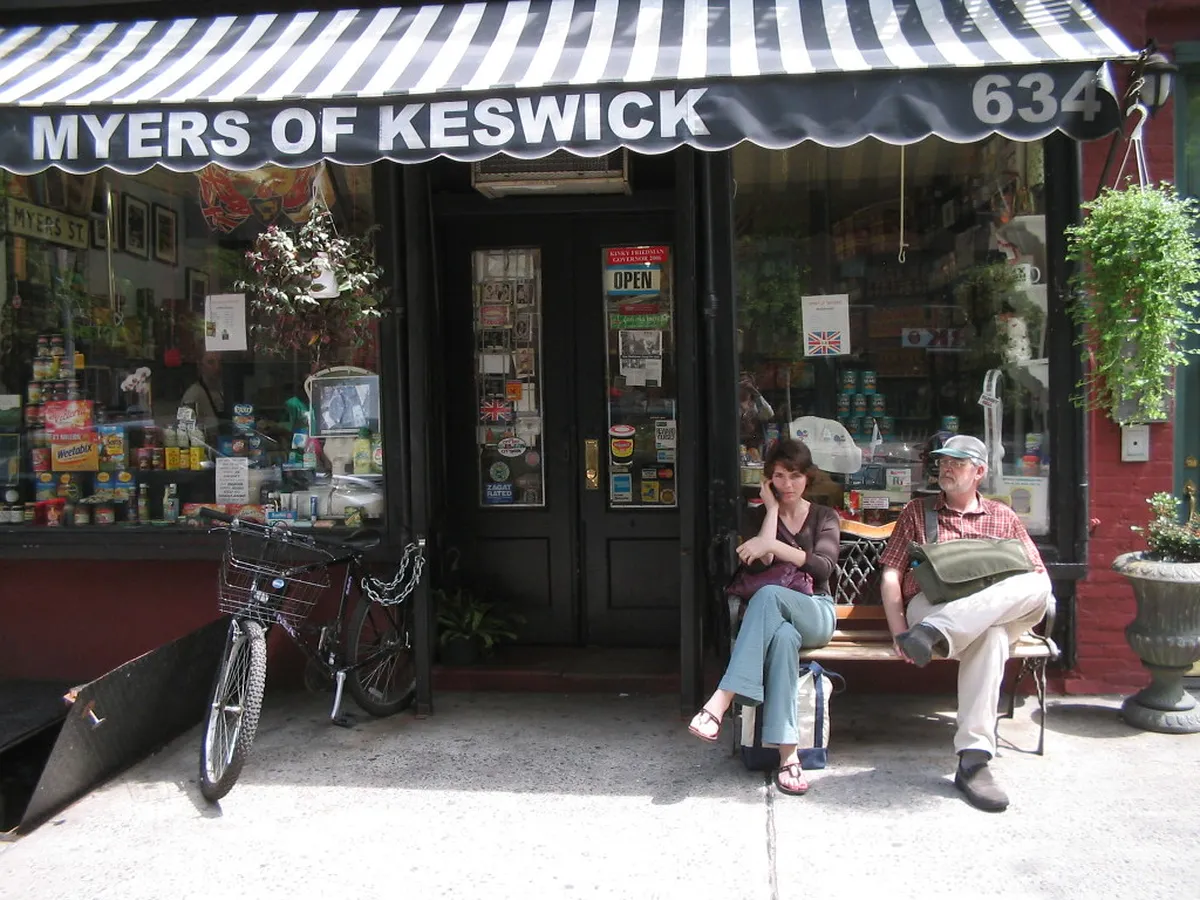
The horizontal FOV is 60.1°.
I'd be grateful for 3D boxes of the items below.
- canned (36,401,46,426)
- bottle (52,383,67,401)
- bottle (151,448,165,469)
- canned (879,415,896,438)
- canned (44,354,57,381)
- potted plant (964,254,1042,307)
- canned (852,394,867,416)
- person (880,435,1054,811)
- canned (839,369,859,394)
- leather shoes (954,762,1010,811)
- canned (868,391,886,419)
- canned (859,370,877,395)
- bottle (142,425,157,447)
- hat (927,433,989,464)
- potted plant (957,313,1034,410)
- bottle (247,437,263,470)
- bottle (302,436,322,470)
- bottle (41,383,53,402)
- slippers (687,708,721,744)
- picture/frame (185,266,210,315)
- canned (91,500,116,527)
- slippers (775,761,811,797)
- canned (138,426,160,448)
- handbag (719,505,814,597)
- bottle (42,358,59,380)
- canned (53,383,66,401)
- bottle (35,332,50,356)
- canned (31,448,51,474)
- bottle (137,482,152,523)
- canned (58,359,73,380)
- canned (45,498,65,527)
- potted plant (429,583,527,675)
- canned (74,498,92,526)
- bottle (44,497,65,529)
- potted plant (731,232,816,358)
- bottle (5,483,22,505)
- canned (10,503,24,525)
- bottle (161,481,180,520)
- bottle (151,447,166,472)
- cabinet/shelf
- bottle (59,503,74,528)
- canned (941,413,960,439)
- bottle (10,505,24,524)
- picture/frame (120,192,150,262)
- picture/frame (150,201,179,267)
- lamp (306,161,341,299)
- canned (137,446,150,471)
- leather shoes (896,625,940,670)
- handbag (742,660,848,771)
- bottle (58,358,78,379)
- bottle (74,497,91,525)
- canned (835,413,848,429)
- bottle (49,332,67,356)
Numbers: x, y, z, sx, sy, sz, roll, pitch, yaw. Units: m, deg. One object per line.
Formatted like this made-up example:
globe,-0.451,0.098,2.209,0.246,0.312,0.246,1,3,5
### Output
canned,-3.928,-0.255,7.266,0.088,0.168,0.040,2,14,14
bottle,-3.777,-0.410,7.247,0.102,0.123,0.106,0,0,20
bottle,-3.065,0.050,7.187,0.118,0.210,0.120,-1,1,0
canned,1.859,-0.142,6.726,0.109,0.135,0.113,-1,3,-7
canned,-3.824,-0.577,7.242,0.097,0.159,0.040,-1,13,4
potted plant,2.585,-1.094,6.588,0.281,0.392,0.210,3,-8,25
canned,1.705,-0.296,6.845,0.108,0.201,0.113,0,2,0
person,1.963,0.866,5.668,0.907,1.718,1.020,5,15,26
canned,1.629,-0.443,6.755,0.123,0.245,0.128,3,-6,16
leather shoes,1.999,1.752,5.388,0.119,0.121,0.275,-3,2,-16
canned,1.809,-0.290,6.729,0.117,0.205,0.120,0,1,7
canned,1.754,-0.440,6.730,0.128,0.153,0.133,1,-2,18
bottle,-3.102,-0.116,7.144,0.103,0.167,0.104,-1,0,0
hat,2.063,0.009,5.892,0.244,0.130,0.177,6,-3,-8
potted plant,2.467,-0.565,6.476,0.433,0.570,0.195,4,9,33
bottle,-2.370,0.008,7.140,0.107,0.212,0.054,-3,13,-5
bottle,-1.972,0.020,7.077,0.124,0.218,0.062,3,14,20
bottle,-3.849,-0.410,7.201,0.093,0.111,0.095,2,-4,-25
slippers,0.570,1.484,5.586,0.137,0.107,0.264,28,-8,16
picture/frame,-2.775,-1.100,7.133,0.154,0.298,0.064,1,14,9
canned,-3.425,0.430,7.142,0.147,0.147,0.148,2,-4,-29
slippers,1.041,1.737,5.523,0.181,0.144,0.145,-1,14,3
canned,-3.136,-0.100,7.186,0.112,0.132,0.114,1,-5,-18
handbag,0.933,0.517,6.044,0.638,0.657,0.301,1,-12,35
bottle,-3.856,-0.566,7.240,0.134,0.151,0.134,1,-2,-36
canned,-3.780,-0.409,7.247,0.099,0.119,0.102,1,-2,-14
bottle,-3.897,-0.733,7.242,0.110,0.158,0.045,3,14,18
canned,-3.903,0.065,7.236,0.126,0.172,0.091,-6,14,-16
bottle,-3.150,0.363,7.141,0.088,0.248,0.103,-5,14,-13
canned,-3.737,-0.569,7.240,0.100,0.143,0.035,-2,13,-3
canned,-3.773,0.424,7.173,0.143,0.170,0.152,3,-8,-21
potted plant,-0.852,1.265,7.249,0.486,0.343,0.508,2,-3,-14
canned,-3.581,0.428,7.246,0.133,0.160,0.138,1,0,-9
bottle,-3.771,0.432,7.172,0.143,0.173,0.153,3,-8,-18
potted plant,1.123,-1.023,6.978,0.517,0.771,0.217,4,0,-1
bottle,-4.108,0.308,7.240,0.124,0.134,0.030,-3,-3,1
canned,-4.059,0.449,7.268,0.101,0.120,0.105,0,0,-2
bottle,-2.951,0.362,7.132,0.109,0.245,0.111,-1,14,0
bottle,-3.060,0.061,7.191,0.119,0.214,0.122,0,0,0
cabinet/shelf,2.668,-0.933,6.567,0.370,1.090,0.236,5,15,24
bottle,-3.680,0.441,7.174,0.108,0.193,0.111,0,-6,0
canned,2.264,-0.169,6.684,0.122,0.242,0.135,2,1,8
bottle,-4.061,0.446,7.264,0.096,0.112,0.100,0,0,4
picture/frame,-3.221,-1.550,7.187,0.212,0.399,0.020,17,22,18
picture/frame,-3.002,-1.498,7.168,0.196,0.379,0.020,13,18,16
lamp,-1.884,-1.469,6.956,0.183,0.878,0.367,-5,14,-14
canned,-3.170,0.048,7.277,0.113,0.178,0.126,0,-4,-5
leather shoes,1.714,1.045,5.500,0.141,0.120,0.328,-14,0,-16
handbag,1.092,1.435,5.843,0.657,0.608,0.481,-4,14,-10
bottle,-3.727,-0.567,7.241,0.122,0.146,0.126,-1,-2,32
bottle,-3.585,0.424,7.247,0.135,0.160,0.139,1,0,-13
canned,1.589,-0.186,6.778,0.067,0.123,0.070,-3,6,-11
bottle,-3.785,-0.739,7.234,0.097,0.145,0.032,1,14,11
